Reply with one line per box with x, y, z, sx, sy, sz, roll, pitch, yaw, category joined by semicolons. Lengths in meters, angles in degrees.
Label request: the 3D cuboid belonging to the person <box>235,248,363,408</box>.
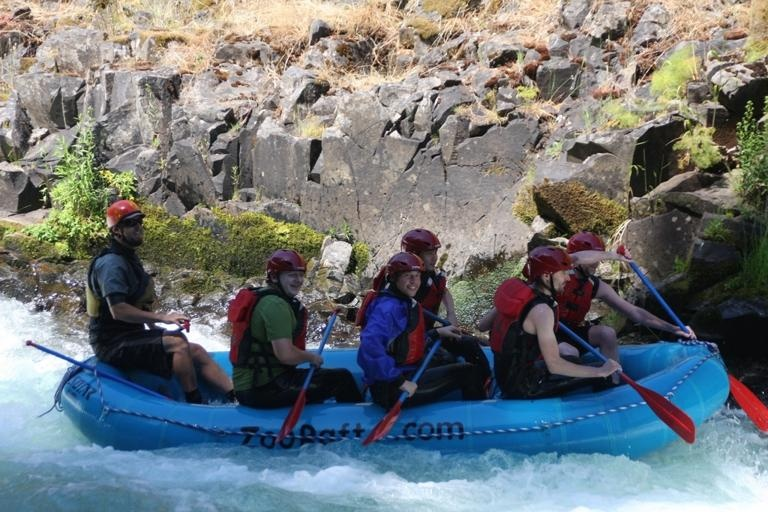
-1.429;0.971;11.995;1.153;2.062;0.553;15;17;17;person

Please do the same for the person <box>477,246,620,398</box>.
2.307;0.943;12.436;1.161;1.770;1.189;-15;30;-5;person

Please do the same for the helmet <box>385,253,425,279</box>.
0.280;0.124;11.810;0.394;0.269;0.295;19;-16;-10;helmet

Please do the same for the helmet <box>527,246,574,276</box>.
2.127;0.062;11.987;0.373;0.486;0.357;58;20;8;helmet

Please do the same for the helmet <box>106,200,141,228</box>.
-3.635;-0.599;12.788;0.466;0.389;0.352;-1;6;-1;helmet

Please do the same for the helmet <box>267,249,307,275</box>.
-1.260;0.074;11.991;0.403;0.240;0.297;-4;-4;12;helmet

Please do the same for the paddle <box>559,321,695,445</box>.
3.177;1.726;12.128;2.248;0.263;0.147;42;2;16;paddle

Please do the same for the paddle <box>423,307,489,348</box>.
1.035;1.042;13.321;0.706;0.179;0.194;32;27;11;paddle

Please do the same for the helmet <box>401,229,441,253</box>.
0.515;-0.173;12.671;0.425;0.297;0.317;18;15;19;helmet

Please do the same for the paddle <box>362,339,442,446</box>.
0.225;1.844;11.974;0.329;1.277;1.111;20;19;33;paddle

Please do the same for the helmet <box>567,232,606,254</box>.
2.807;-0.190;12.788;0.406;0.234;0.297;0;2;9;helmet
